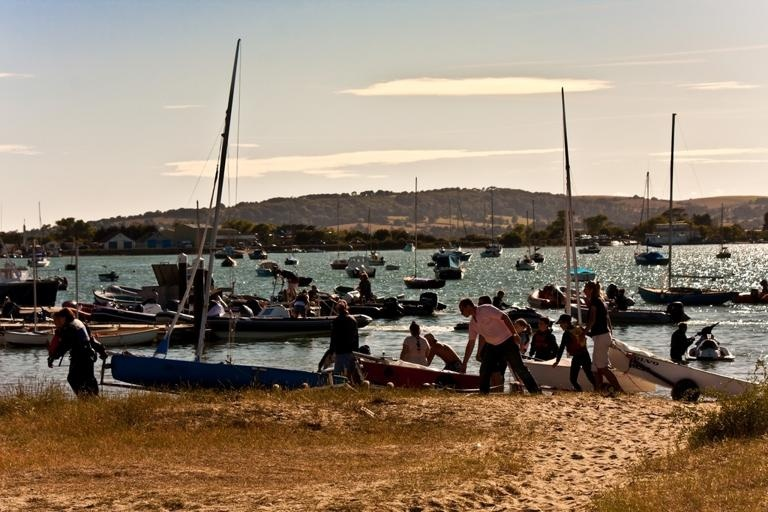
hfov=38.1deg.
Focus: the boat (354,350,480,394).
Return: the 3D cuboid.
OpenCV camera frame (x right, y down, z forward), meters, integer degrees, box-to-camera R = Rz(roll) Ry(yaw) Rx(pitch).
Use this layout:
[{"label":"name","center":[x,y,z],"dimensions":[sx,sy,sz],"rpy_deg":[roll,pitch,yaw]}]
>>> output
[{"label":"boat","center":[0.749,3.413,30.942],"dimensions":[3.307,1.208,1.028],"rpy_deg":[11,-23,3]}]
